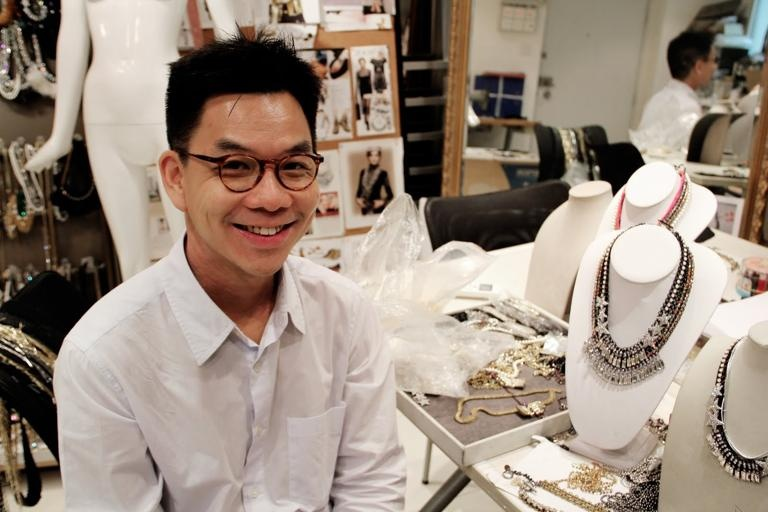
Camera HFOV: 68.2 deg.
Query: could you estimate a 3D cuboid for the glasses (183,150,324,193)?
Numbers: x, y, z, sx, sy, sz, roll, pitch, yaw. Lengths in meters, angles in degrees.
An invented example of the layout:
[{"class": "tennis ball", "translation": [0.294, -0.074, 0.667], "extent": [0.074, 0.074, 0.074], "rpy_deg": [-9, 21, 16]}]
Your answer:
[{"class": "glasses", "translation": [-0.362, -0.231, 1.535], "extent": [0.383, 0.123, 0.088], "rpy_deg": [-4, 12, -7]}]
